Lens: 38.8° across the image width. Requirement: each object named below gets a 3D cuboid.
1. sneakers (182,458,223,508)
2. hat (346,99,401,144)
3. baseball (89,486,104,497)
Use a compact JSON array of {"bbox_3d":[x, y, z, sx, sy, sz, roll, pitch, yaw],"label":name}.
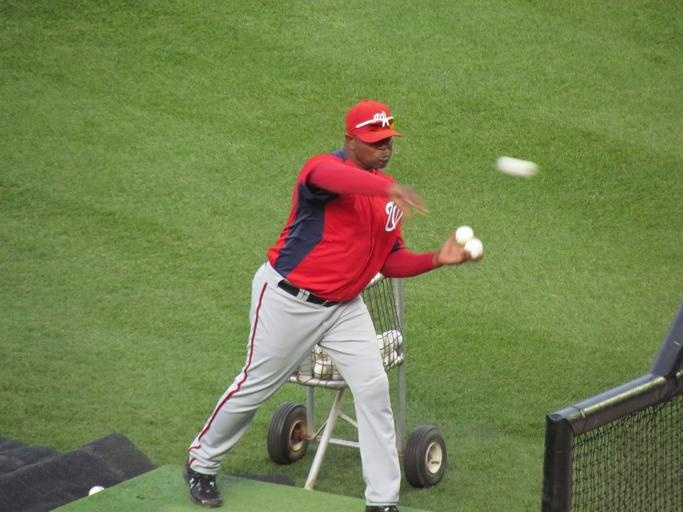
[{"bbox_3d":[-0.881,1.436,6.123,0.270,0.224,0.466,-3,13,-25],"label":"sneakers"},{"bbox_3d":[0.193,-0.825,6.027,0.316,0.236,0.197,11,19,8],"label":"hat"},{"bbox_3d":[-1.580,1.511,6.259,0.083,0.048,0.084,1,4,-3],"label":"baseball"}]
